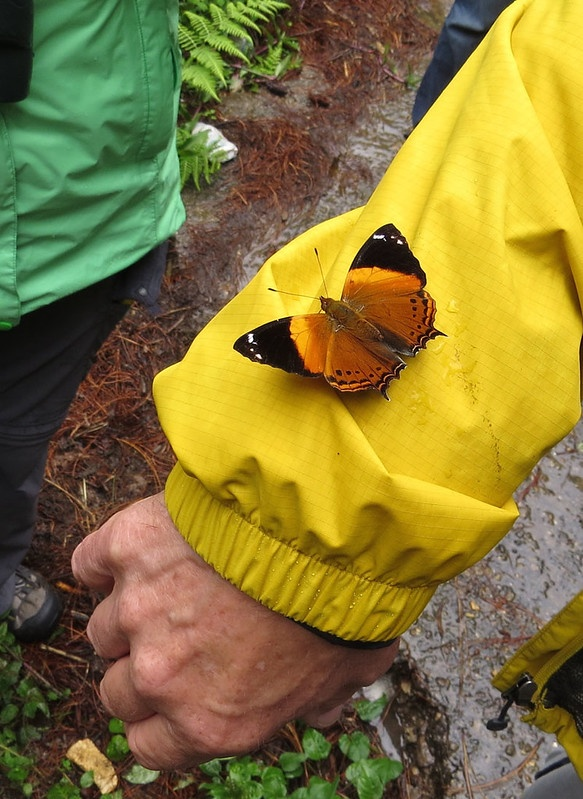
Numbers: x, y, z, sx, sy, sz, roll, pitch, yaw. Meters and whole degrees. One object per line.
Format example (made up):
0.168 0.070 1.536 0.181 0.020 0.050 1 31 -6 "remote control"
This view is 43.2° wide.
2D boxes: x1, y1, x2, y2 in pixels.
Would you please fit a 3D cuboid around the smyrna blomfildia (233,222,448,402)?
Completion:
0.095 -0.110 1.153 0.321 0.077 0.265 -44 73 1 "smyrna blomfildia"
